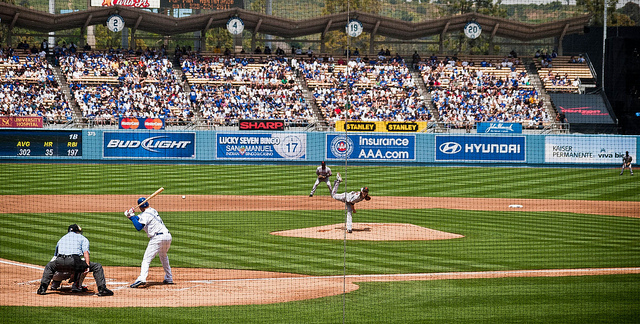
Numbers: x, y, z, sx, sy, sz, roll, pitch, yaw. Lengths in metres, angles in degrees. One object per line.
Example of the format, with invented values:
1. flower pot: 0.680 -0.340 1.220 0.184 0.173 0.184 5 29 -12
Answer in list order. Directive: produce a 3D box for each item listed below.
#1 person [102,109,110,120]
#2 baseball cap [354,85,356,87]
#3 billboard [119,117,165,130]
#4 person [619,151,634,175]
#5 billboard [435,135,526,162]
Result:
1. person: -19.764 -4.164 104.630 0.579 0.912 1.332 -2 -2 -11
2. baseball cap: 3.323 -7.150 110.311 0.211 0.189 0.204 2 4 -2
3. billboard: -16.286 -3.452 102.642 3.725 1.030 1.057 2 -8 -6
4. person: 27.319 0.309 101.106 0.915 1.448 1.357 -3 -2 34
5. billboard: 14.451 -1.045 102.293 7.701 2.398 1.218 -2 -2 -6
